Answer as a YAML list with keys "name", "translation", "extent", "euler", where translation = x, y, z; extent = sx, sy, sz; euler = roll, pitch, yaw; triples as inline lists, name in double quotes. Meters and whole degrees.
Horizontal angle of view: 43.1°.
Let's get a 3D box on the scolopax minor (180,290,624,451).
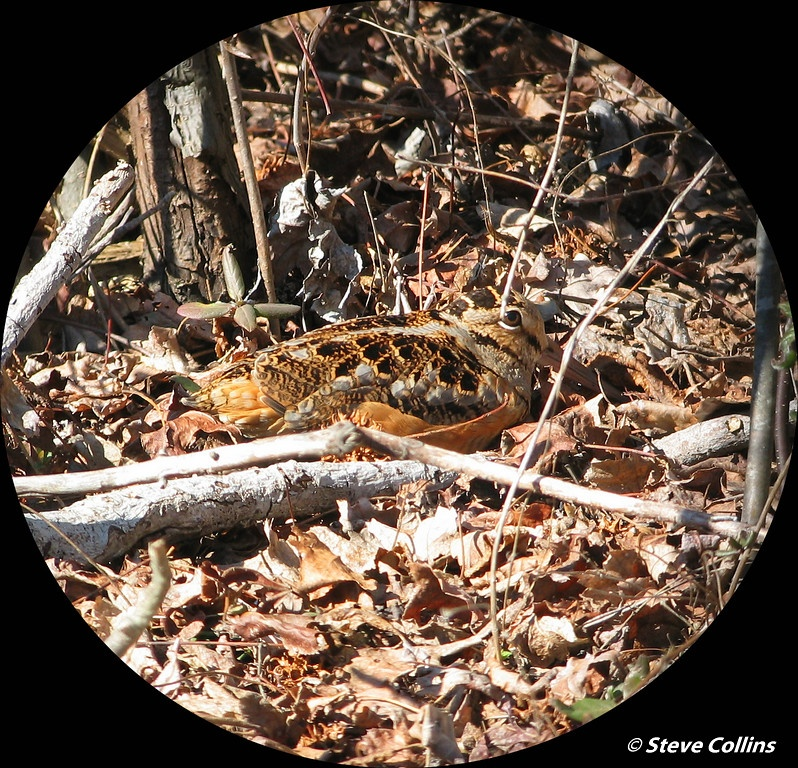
- name: "scolopax minor"
  translation: [-0.030, -0.061, 4.163]
  extent: [1.497, 0.555, 0.611]
  euler: [-7, 35, -2]
